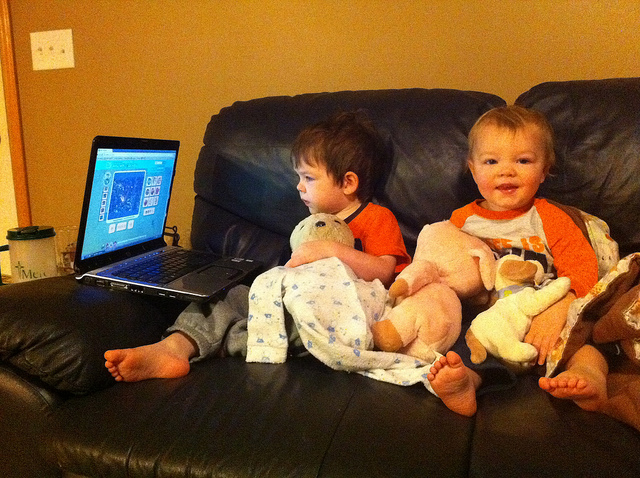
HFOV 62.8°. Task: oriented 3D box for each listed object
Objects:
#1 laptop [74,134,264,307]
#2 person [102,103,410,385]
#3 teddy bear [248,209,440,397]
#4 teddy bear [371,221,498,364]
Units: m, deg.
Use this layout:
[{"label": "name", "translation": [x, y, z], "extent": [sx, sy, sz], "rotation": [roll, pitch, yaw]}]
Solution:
[{"label": "laptop", "translation": [-0.419, -0.083, 1.558], "extent": [0.441, 0.428, 0.506], "rotation": [9, 11, 20]}, {"label": "person", "translation": [-0.116, -0.009, 1.429], "extent": [0.549, 0.591, 0.851], "rotation": [2, 11, 21]}, {"label": "teddy bear", "translation": [0.002, 0.172, 1.350], "extent": [0.429, 0.202, 0.529], "rotation": [-7, 44, -27]}, {"label": "teddy bear", "translation": [0.302, 0.166, 1.398], "extent": [0.226, 0.189, 0.390], "rotation": [-2, 42, 47]}]
